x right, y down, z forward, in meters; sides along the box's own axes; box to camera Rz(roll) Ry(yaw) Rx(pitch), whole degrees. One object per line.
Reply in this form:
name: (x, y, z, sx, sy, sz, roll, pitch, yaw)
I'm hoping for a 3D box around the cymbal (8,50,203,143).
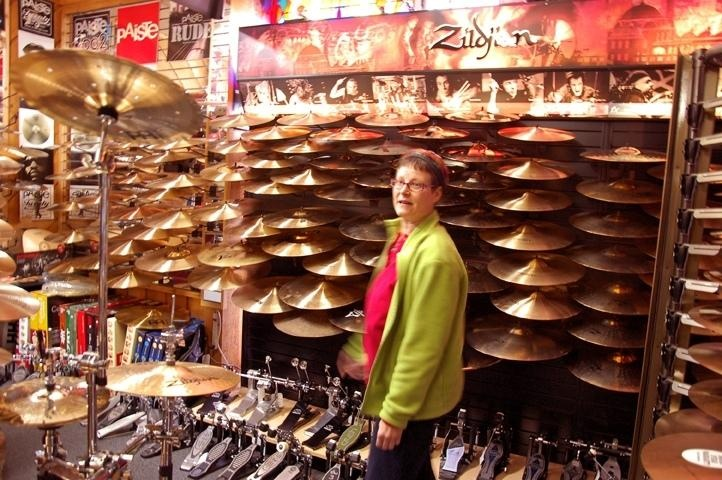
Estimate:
cymbal: (-1.226, -0.697, 2.602, 0.663, 0.127, 0.611, -16, -32, 32)
